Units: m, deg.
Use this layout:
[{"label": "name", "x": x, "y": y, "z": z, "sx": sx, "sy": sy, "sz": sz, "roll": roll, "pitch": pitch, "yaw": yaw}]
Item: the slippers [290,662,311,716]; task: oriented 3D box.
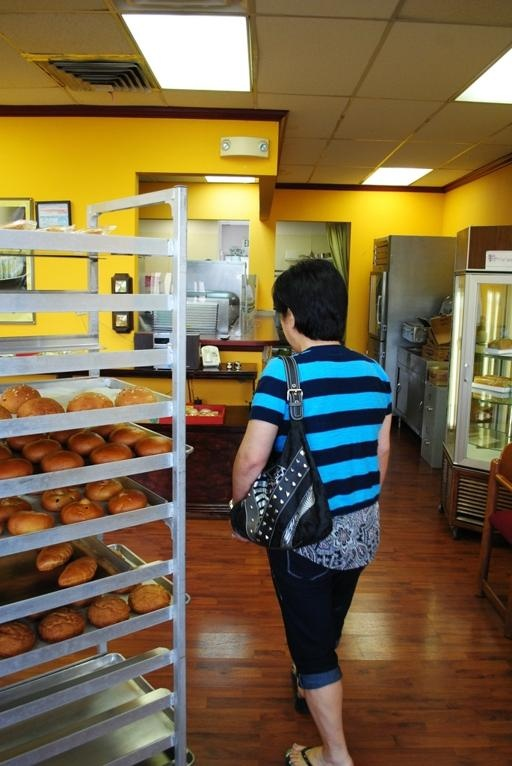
[{"label": "slippers", "x": 0.154, "y": 1.045, "z": 1.925, "sx": 0.068, "sy": 0.084, "sz": 0.208, "roll": 0, "pitch": 11, "yaw": 2}]

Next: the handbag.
[{"label": "handbag", "x": 0.043, "y": 0.227, "z": 1.273, "sx": 0.111, "sy": 0.303, "sz": 0.261, "roll": -5, "pitch": 9, "yaw": -44}]

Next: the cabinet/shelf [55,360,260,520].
[{"label": "cabinet/shelf", "x": -0.408, "y": 0.461, "z": 3.916, "sx": 1.107, "sy": 0.716, "sz": 1.093, "roll": 0, "pitch": 6, "yaw": 4}]

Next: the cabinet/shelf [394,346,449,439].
[{"label": "cabinet/shelf", "x": 1.599, "y": 0.095, "z": 5.311, "sx": 0.316, "sy": 0.738, "sz": 0.845, "roll": -1, "pitch": 12, "yaw": -5}]

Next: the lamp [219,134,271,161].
[{"label": "lamp", "x": -0.079, "y": -1.732, "z": 4.080, "sx": 0.356, "sy": 0.129, "sz": 0.093, "roll": 1, "pitch": 6, "yaw": -5}]
